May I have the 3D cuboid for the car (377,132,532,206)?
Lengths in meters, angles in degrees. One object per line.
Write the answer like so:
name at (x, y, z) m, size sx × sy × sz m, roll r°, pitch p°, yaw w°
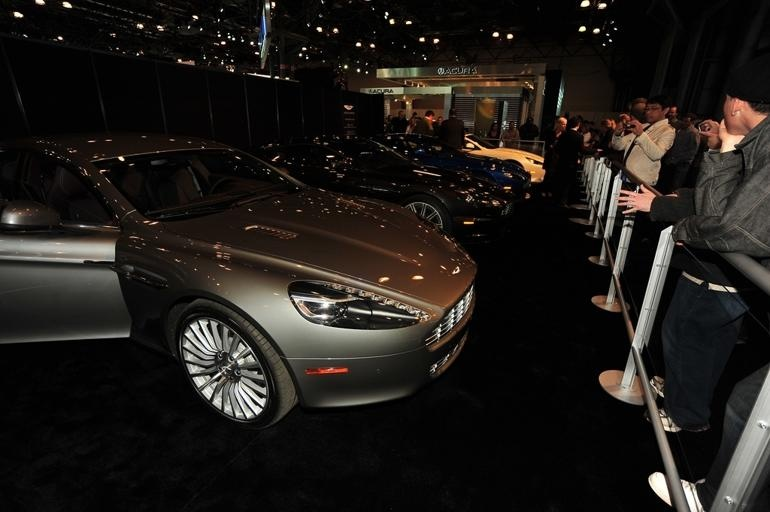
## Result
car at (1.542, -1.842, 8.250) m, size 3.448 × 0.806 × 1.412 m, roll 11°, pitch 25°, yaw 3°

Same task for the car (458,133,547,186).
car at (3.000, -2.441, 10.622) m, size 2.609 × 0.614 × 1.099 m, roll 6°, pitch 26°, yaw 7°

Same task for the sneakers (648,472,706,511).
sneakers at (1.714, 1.398, 2.526) m, size 0.325 × 0.179 × 0.077 m, roll -2°, pitch 15°, yaw 37°

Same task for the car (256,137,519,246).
car at (0.013, -0.793, 5.004) m, size 2.673 × 0.629 × 1.088 m, roll 15°, pitch 18°, yaw 19°
